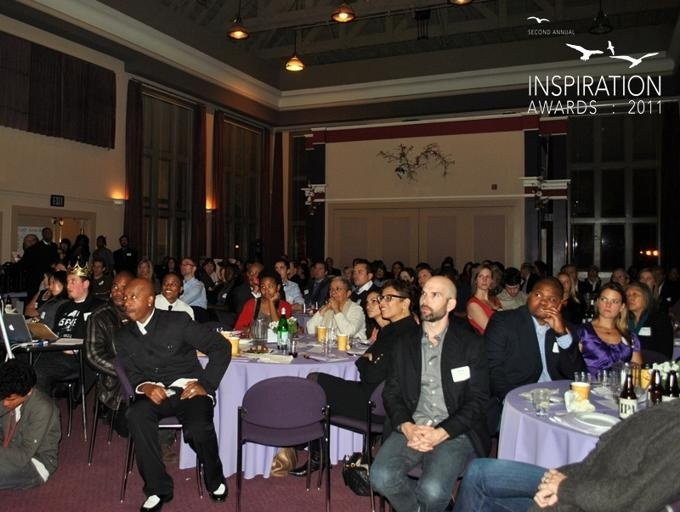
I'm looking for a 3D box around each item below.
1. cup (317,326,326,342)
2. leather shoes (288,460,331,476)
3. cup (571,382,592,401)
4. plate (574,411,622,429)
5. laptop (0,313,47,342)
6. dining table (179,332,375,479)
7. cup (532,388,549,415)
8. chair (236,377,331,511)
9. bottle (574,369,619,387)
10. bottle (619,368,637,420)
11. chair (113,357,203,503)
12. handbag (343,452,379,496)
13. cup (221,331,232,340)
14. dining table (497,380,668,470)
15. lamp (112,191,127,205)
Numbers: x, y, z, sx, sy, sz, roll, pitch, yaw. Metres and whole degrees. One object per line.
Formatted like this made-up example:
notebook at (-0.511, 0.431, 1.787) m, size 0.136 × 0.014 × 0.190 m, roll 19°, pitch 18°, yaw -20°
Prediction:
cup at (-0.170, 0.781, 5.384) m, size 0.081 × 0.142 × 0.132 m, roll 0°, pitch -10°, yaw 2°
leather shoes at (-0.232, 1.796, 4.572) m, size 0.368 × 0.181 × 0.133 m, roll 4°, pitch -6°, yaw -13°
cup at (1.585, 0.887, 3.589) m, size 0.106 × 0.113 × 0.118 m, roll 3°, pitch 7°, yaw 35°
plate at (1.578, 0.991, 3.336) m, size 0.223 × 0.040 × 0.343 m, roll 0°, pitch 1°, yaw 36°
laptop at (-2.891, 0.668, 5.033) m, size 0.353 × 0.258 × 0.273 m, roll 4°, pitch -4°, yaw 29°
dining table at (-0.476, 1.185, 4.654) m, size 1.052 × 0.688 × 1.089 m, roll 3°, pitch -6°, yaw -24°
cup at (1.281, 0.934, 3.480) m, size 0.116 × 0.147 × 0.125 m, roll -2°, pitch -7°, yaw 0°
chair at (-0.434, 1.420, 4.125) m, size 0.722 × 1.289 × 0.744 m, roll 0°, pitch 18°, yaw -3°
bottle at (1.815, 0.860, 3.825) m, size 0.181 × 0.102 × 0.247 m, roll 1°, pitch -11°, yaw -9°
bottle at (1.804, 0.862, 3.416) m, size 0.097 × 0.260 × 0.330 m, roll 0°, pitch 1°, yaw 30°
chair at (-1.474, 1.328, 4.346) m, size 0.917 × 1.047 × 0.575 m, roll 0°, pitch 1°, yaw 21°
handbag at (0.155, 1.713, 4.363) m, size 0.275 × 0.159 × 0.360 m, roll 25°, pitch -18°, yaw 4°
cup at (-1.029, 0.724, 4.991) m, size 0.072 × 0.071 × 0.077 m, roll -1°, pitch 0°, yaw 0°
dining table at (1.321, 1.138, 3.583) m, size 0.552 × 0.440 × 0.809 m, roll 0°, pitch 1°, yaw 17°
lamp at (-4.933, -1.278, 12.270) m, size 0.066 × 0.281 × 0.273 m, roll 0°, pitch -4°, yaw 44°
